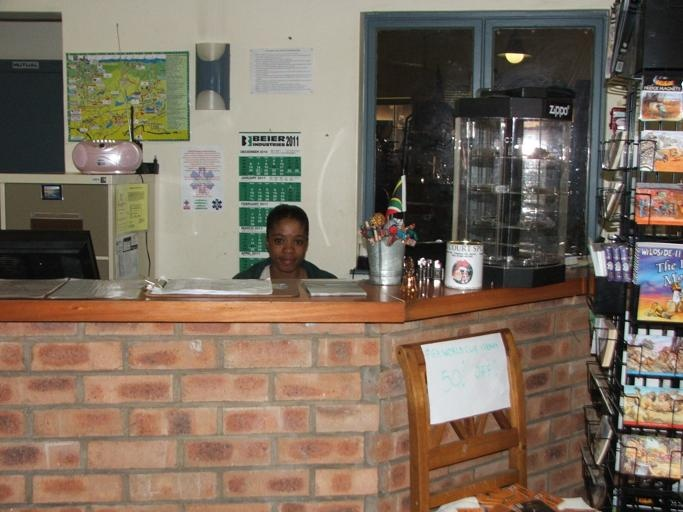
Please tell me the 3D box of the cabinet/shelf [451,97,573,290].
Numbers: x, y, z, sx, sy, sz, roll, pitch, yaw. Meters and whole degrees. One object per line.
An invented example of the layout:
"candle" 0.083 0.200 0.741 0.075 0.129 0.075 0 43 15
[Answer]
"cabinet/shelf" 0.654 -0.272 2.518 0.481 0.744 0.522 -1 7 15

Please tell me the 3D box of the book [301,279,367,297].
"book" -0.029 0.109 2.277 0.206 0.025 0.353 -3 7 -4

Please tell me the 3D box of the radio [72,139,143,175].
"radio" -1.349 -0.562 3.741 0.433 0.201 0.130 2 0 11

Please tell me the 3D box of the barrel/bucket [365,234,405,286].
"barrel/bucket" 0.158 0.027 2.345 0.165 0.164 0.153 0 1 0
